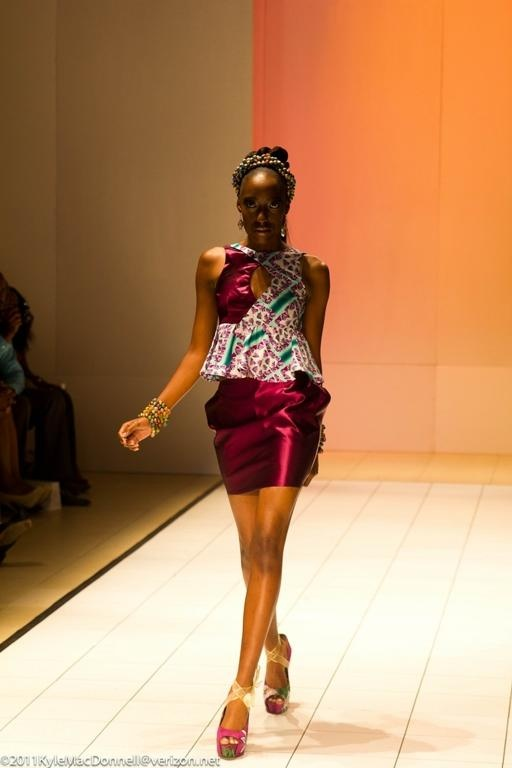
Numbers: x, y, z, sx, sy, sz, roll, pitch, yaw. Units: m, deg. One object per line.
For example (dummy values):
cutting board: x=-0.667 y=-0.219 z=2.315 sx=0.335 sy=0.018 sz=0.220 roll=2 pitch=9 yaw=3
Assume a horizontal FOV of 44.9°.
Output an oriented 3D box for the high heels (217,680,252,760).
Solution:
high heels: x=-0.052 y=0.608 z=1.118 sx=0.046 sy=0.157 sz=0.030 roll=2 pitch=22 yaw=3

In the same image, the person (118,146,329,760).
person: x=-0.045 y=0.116 z=1.341 sx=0.398 sy=1.255 sz=0.414 roll=0 pitch=-5 yaw=6

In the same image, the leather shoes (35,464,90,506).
leather shoes: x=-1.273 y=0.679 z=4.138 sx=0.164 sy=0.193 sz=0.489 roll=0 pitch=1 yaw=18

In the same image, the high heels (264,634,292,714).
high heels: x=0.050 y=0.670 z=1.443 sx=0.051 sy=0.167 sz=0.048 roll=0 pitch=0 yaw=9

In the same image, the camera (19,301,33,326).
camera: x=-1.475 y=-0.463 z=3.960 sx=0.059 sy=0.178 sz=0.199 roll=1 pitch=-4 yaw=-16
